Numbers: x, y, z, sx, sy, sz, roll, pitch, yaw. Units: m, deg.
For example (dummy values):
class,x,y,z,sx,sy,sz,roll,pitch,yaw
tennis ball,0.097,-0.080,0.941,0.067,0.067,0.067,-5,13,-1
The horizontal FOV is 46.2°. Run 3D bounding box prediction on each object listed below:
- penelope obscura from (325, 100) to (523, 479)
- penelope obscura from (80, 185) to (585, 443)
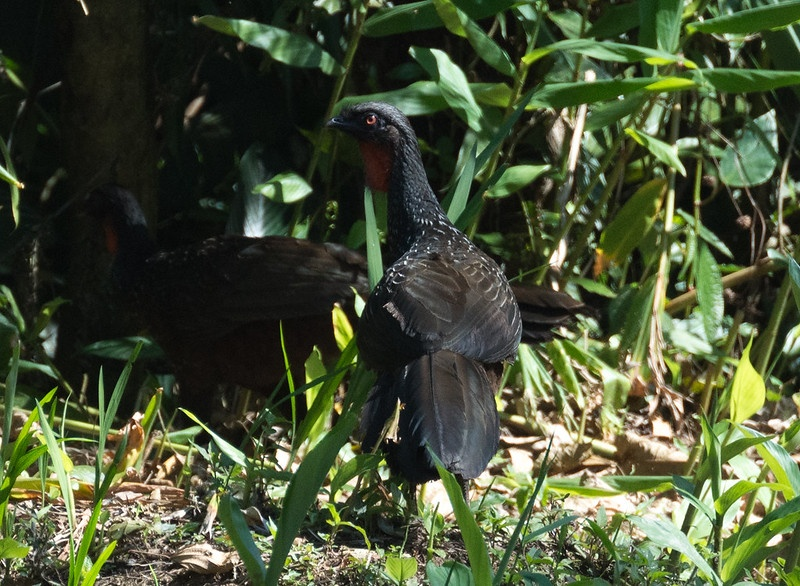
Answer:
class,x,y,z,sx,sy,sz,roll,pitch,yaw
penelope obscura,0.100,-0.006,3.403,0.498,1.404,1.155,-5,0,-5
penelope obscura,-0.446,0.072,3.840,1.750,1.152,0.607,-3,4,10
